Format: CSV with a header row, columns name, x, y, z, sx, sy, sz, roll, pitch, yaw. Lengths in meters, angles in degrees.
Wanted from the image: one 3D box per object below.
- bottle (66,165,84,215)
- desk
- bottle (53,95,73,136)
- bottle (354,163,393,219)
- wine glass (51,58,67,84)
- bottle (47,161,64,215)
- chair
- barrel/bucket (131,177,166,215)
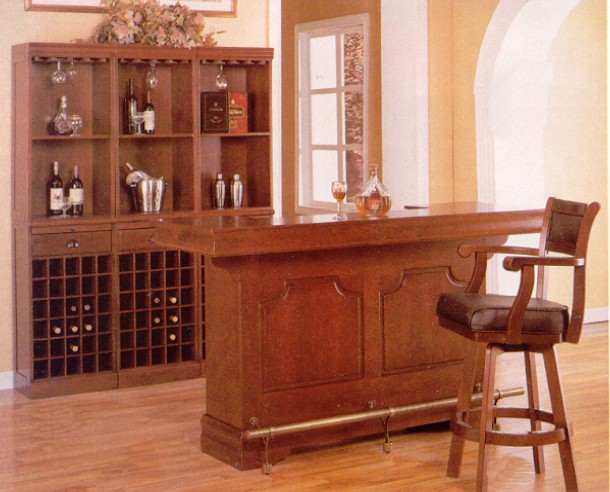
name,x,y,z,sx,sy,sz,roll,pitch,yaw
bottle,-1.709,-0.406,4.373,0.117,0.366,0.239,-3,5,-23
desk,0.238,0.516,3.169,1.391,0.847,0.480,-4,11,-28
bottle,-1.797,-0.964,4.341,0.119,0.317,0.243,-3,5,-23
bottle,0.386,-0.328,3.385,0.263,0.362,0.256,-1,12,0
wine glass,-1.804,-1.272,4.317,0.108,0.167,0.221,-3,5,-22
bottle,-1.848,-0.428,4.363,0.131,0.410,0.271,-3,5,-23
chair,1.019,0.460,2.819,0.755,1.367,0.928,0,4,12
barrel/bucket,-1.172,-0.376,4.538,0.294,0.280,0.248,0,3,-8
